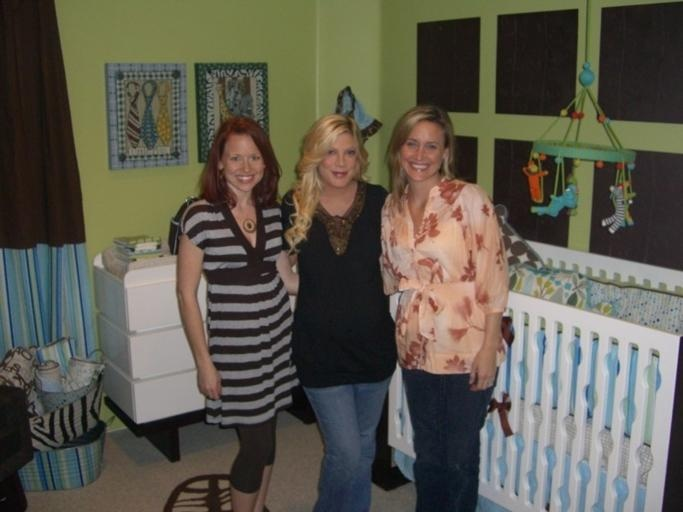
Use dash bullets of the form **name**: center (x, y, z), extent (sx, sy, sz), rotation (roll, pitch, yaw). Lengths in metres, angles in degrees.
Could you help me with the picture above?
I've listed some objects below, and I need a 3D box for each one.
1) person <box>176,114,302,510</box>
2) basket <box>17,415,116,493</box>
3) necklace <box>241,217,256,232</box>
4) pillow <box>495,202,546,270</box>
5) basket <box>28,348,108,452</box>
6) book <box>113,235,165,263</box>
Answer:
- **person**: center (-0.439, 0.327, 2.650), extent (0.513, 1.815, 0.303), rotation (-3, 12, -6)
- **basket**: center (-1.587, 1.190, 3.478), extent (0.487, 0.282, 0.200), rotation (-14, 17, -36)
- **necklace**: center (-0.395, -0.134, 2.576), extent (0.048, 0.057, 0.013), rotation (4, -11, -37)
- **pillow**: center (1.019, -0.094, 3.535), extent (0.285, 0.361, 0.077), rotation (5, -16, 3)
- **basket**: center (-1.543, 0.855, 3.482), extent (0.270, 0.498, 0.464), rotation (0, 4, 12)
- **book**: center (-1.203, -0.053, 3.627), extent (0.186, 0.080, 0.187), rotation (-8, 14, -40)
